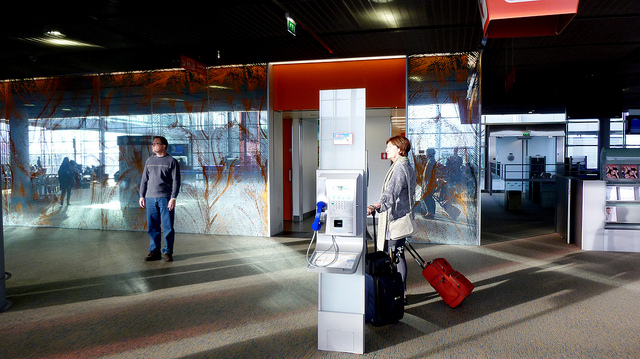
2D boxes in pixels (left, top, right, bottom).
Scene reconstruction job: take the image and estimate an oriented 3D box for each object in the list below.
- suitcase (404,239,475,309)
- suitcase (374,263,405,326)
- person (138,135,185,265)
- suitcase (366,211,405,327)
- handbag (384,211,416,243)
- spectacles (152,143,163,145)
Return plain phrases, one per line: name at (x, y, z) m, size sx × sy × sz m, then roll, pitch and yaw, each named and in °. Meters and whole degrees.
suitcase at (2.142, 1.561, 7.327) m, size 0.485 × 1.623 × 0.575 m, roll -17°, pitch -26°, yaw -47°
suitcase at (1.175, 1.950, 6.606) m, size 0.493 × 0.998 × 0.187 m, roll -3°, pitch 3°, yaw -23°
person at (-3.670, 0.462, 8.844) m, size 0.919 × 2.831 × 0.481 m, roll -2°, pitch 3°, yaw -3°
suitcase at (1.108, 1.858, 6.656) m, size 0.675 × 1.218 × 0.354 m, roll -2°, pitch 3°, yaw 3°
handbag at (1.384, 0.866, 6.881) m, size 0.563 × 0.425 × 0.207 m, roll -15°, pitch -8°, yaw 15°
spectacles at (-3.688, -0.811, 8.833) m, size 0.189 × 0.034 × 0.047 m, roll -2°, pitch 3°, yaw -5°
